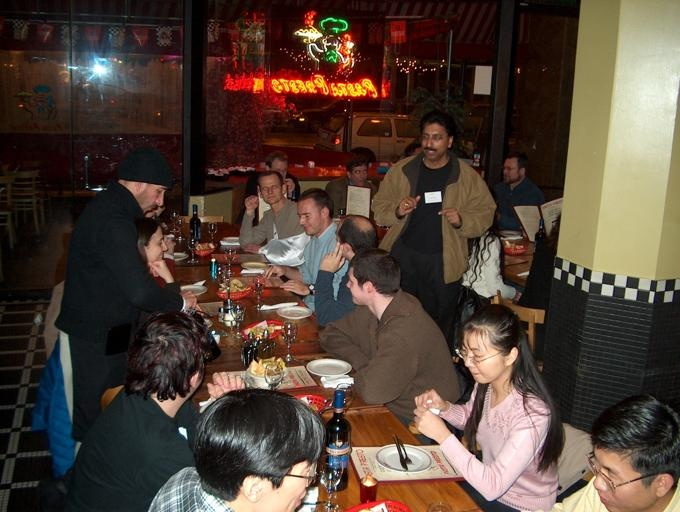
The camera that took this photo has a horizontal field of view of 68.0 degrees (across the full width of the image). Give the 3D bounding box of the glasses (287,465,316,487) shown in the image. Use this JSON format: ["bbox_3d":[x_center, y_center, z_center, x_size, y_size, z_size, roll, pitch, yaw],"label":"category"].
[{"bbox_3d":[-0.105,0.615,1.377,0.091,0.029,0.076,1,8,0],"label":"glasses"}]

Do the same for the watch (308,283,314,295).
[{"bbox_3d":[-0.201,0.239,3.784,0.050,0.076,0.069,1,-14,-2],"label":"watch"}]

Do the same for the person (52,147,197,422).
[{"bbox_3d":[-1.307,0.449,3.189,0.791,2.188,0.783,-2,18,-31],"label":"person"}]

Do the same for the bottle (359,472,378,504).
[{"bbox_3d":[0.103,0.844,1.846,0.080,0.093,0.081,-1,29,3],"label":"bottle"}]

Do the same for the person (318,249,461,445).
[{"bbox_3d":[0.319,0.416,3.219,0.865,1.540,0.902,-6,12,-8],"label":"person"}]

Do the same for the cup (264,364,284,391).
[{"bbox_3d":[-0.311,0.569,2.418,0.087,0.142,0.158,-2,9,-9],"label":"cup"}]

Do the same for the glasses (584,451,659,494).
[{"bbox_3d":[0.919,0.708,1.651,0.114,0.035,0.111,-11,13,-6],"label":"glasses"}]

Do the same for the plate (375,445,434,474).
[{"bbox_3d":[0.264,0.821,2.042,0.229,0.039,0.157,0,9,3],"label":"plate"}]

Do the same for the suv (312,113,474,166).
[{"bbox_3d":[0.979,-2.274,10.650,2.573,1.275,1.410,-10,22,-12],"label":"suv"}]

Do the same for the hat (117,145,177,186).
[{"bbox_3d":[-1.153,-0.497,3.018,0.254,0.206,0.254,6,2,-19],"label":"hat"}]
